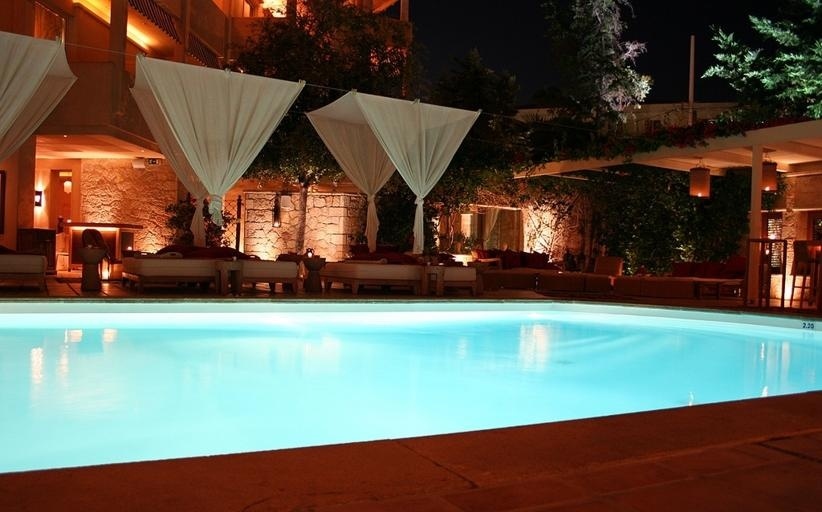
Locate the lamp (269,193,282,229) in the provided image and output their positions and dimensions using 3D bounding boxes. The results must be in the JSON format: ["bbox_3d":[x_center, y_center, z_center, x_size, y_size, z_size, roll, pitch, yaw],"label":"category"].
[{"bbox_3d":[-3.581,-1.203,16.133,0.331,0.902,0.299,3,7,8],"label":"lamp"}]

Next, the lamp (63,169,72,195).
[{"bbox_3d":[-8.974,-1.944,16.067,0.131,0.593,0.360,-4,9,-44],"label":"lamp"}]

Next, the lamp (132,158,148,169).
[{"bbox_3d":[-6.754,-2.305,15.258,0.373,0.326,0.279,-1,0,-5],"label":"lamp"}]

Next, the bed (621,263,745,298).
[{"bbox_3d":[5.575,0.520,12.845,2.594,0.727,1.523,4,7,9],"label":"bed"}]

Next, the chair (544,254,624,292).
[{"bbox_3d":[3.825,0.556,13.931,1.155,0.708,1.196,1,-1,-1],"label":"chair"}]
